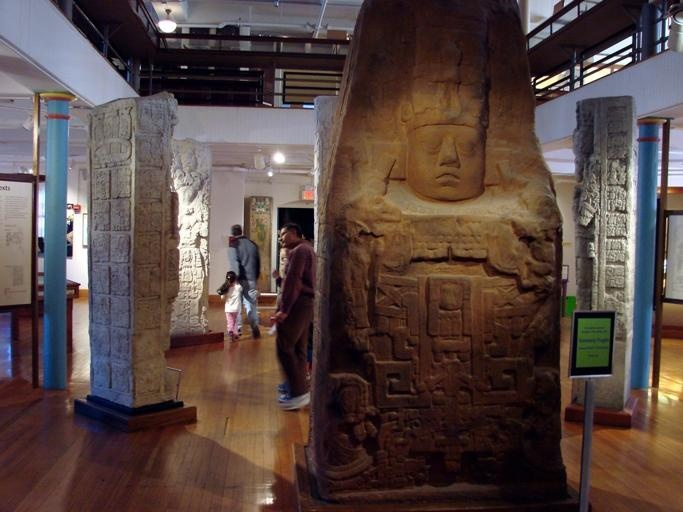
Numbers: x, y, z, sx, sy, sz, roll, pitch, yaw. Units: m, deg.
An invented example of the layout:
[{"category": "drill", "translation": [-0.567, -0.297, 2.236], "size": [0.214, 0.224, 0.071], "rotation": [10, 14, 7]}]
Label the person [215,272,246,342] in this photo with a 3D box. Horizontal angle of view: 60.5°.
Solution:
[{"category": "person", "translation": [-1.626, 0.715, 8.687], "size": [0.330, 1.034, 0.682], "rotation": [0, 6, -9]}]

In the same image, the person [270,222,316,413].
[{"category": "person", "translation": [-0.463, 0.612, 5.779], "size": [0.410, 1.829, 0.530], "rotation": [0, 6, -4]}]

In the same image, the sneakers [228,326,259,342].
[{"category": "sneakers", "translation": [-1.459, 1.158, 8.806], "size": [0.424, 0.181, 0.172], "rotation": [-3, 5, -16]}]

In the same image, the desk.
[{"category": "desk", "translation": [-3.927, 0.721, 7.760], "size": [0.635, 0.768, 0.746], "rotation": [3, 1, -44]}]

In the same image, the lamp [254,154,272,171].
[{"category": "lamp", "translation": [-1.471, -1.747, 10.948], "size": [0.285, 0.325, 0.286], "rotation": [-7, 9, -37]}]

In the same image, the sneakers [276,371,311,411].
[{"category": "sneakers", "translation": [-0.411, 1.429, 6.028], "size": [0.182, 0.255, 0.555], "rotation": [0, -4, 43]}]
